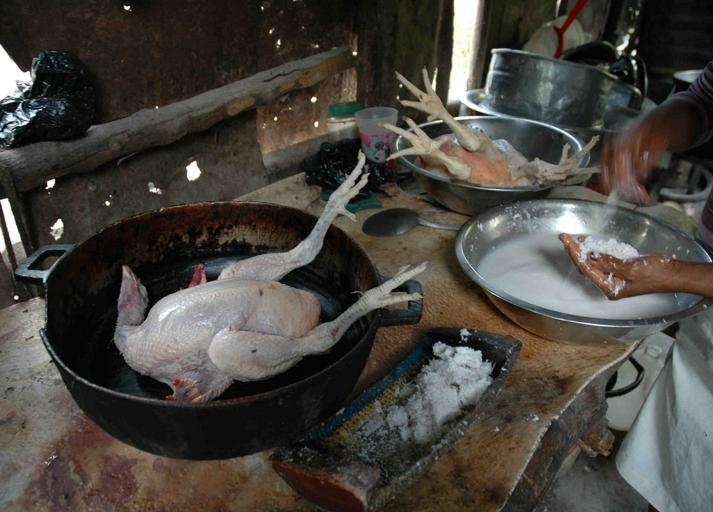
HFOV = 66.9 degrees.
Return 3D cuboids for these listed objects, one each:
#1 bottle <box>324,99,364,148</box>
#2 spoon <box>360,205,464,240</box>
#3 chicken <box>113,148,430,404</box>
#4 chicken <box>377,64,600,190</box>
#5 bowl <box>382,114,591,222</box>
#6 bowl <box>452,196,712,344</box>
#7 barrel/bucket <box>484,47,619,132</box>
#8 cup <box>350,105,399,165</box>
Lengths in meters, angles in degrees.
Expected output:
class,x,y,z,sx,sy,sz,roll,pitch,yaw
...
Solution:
class,x,y,z,sx,sy,sz,roll,pitch,yaw
bottle,-0.062,-0.656,2.642,0.222,0.224,0.226,-4,17,-2
spoon,0.220,-0.112,2.082,0.420,0.058,0.136,3,53,-15
chicken,-0.177,0.212,1.679,0.889,0.337,0.637,-34,44,1
chicken,0.431,-0.398,2.063,0.944,0.357,0.400,9,43,6
bowl,0.583,-0.364,2.186,0.554,0.192,0.541,-1,30,0
bowl,0.689,0.027,1.710,0.753,0.195,0.567,12,42,10
barrel/bucket,0.809,-0.699,2.287,0.422,0.159,0.406,8,30,-5
cup,0.091,-0.526,2.366,0.195,0.220,0.197,0,30,0
